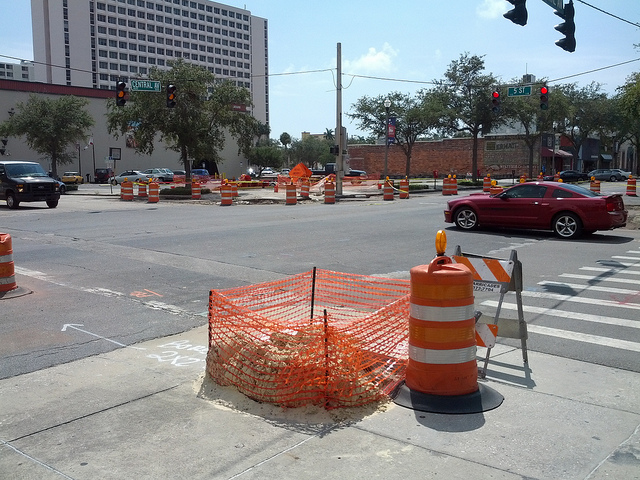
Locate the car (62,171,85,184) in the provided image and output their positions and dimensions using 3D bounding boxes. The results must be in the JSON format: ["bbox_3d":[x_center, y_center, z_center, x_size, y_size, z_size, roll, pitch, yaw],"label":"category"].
[{"bbox_3d":[-28.183,-7.374,65.381,1.792,1.566,3.083,0,0,-2],"label":"car"}]

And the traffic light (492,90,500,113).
[{"bbox_3d":[8.966,-7.131,29.586,0.260,1.111,1.419,2,9,21],"label":"traffic light"}]

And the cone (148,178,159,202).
[{"bbox_3d":[-9.414,-2.681,32.626,0.558,1.062,0.673,-1,8,-5],"label":"cone"}]

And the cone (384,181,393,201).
[{"bbox_3d":[3.980,-2.871,33.909,0.487,0.988,1.643,0,8,7],"label":"cone"}]

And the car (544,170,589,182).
[{"bbox_3d":[27.197,-6.941,62.501,2.244,1.018,6.824,5,10,32],"label":"car"}]

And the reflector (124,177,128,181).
[{"bbox_3d":[-19.754,-6.249,58.779,0.339,0.343,0.345,0,3,-19],"label":"reflector"}]

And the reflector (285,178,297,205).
[{"bbox_3d":[-1.581,-2.447,30.857,0.525,1.029,0.770,-2,8,-8],"label":"reflector"}]

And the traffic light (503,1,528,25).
[{"bbox_3d":[5.732,-6.660,16.935,0.567,0.704,0.536,2,8,15],"label":"traffic light"}]

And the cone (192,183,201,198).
[{"bbox_3d":[-7.648,-3.091,35.663,0.803,1.200,0.825,0,-3,-12],"label":"cone"}]

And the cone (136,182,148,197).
[{"bbox_3d":[-11.358,-3.150,36.995,0.632,0.876,0.644,-3,8,-18],"label":"cone"}]

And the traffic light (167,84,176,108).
[{"bbox_3d":[-7.692,-7.466,29.790,0.317,1.128,0.432,-3,8,-19],"label":"traffic light"}]

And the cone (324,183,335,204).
[{"bbox_3d":[0.495,-2.564,31.643,0.514,1.034,0.894,-1,8,-1],"label":"cone"}]

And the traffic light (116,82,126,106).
[{"bbox_3d":[-10.060,-7.388,29.263,0.404,1.148,0.841,-3,8,-18],"label":"traffic light"}]

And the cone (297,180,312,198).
[{"bbox_3d":[-0.976,-3.082,35.710,0.854,0.938,0.877,1,6,-12],"label":"cone"}]

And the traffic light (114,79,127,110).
[{"bbox_3d":[-10.237,-7.527,29.712,0.503,1.295,1.892,-3,9,-16],"label":"traffic light"}]

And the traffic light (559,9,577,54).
[{"bbox_3d":[7.986,-6.849,18.761,0.508,1.394,0.980,3,9,22],"label":"traffic light"}]

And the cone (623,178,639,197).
[{"bbox_3d":[18.913,-3.207,35.329,0.608,1.083,1.774,4,9,27],"label":"cone"}]

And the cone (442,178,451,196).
[{"bbox_3d":[7.863,-3.286,35.976,0.455,1.050,1.442,1,8,12],"label":"cone"}]

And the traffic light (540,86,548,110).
[{"bbox_3d":[10.480,-6.736,27.245,0.322,0.991,1.621,2,9,18],"label":"traffic light"}]
